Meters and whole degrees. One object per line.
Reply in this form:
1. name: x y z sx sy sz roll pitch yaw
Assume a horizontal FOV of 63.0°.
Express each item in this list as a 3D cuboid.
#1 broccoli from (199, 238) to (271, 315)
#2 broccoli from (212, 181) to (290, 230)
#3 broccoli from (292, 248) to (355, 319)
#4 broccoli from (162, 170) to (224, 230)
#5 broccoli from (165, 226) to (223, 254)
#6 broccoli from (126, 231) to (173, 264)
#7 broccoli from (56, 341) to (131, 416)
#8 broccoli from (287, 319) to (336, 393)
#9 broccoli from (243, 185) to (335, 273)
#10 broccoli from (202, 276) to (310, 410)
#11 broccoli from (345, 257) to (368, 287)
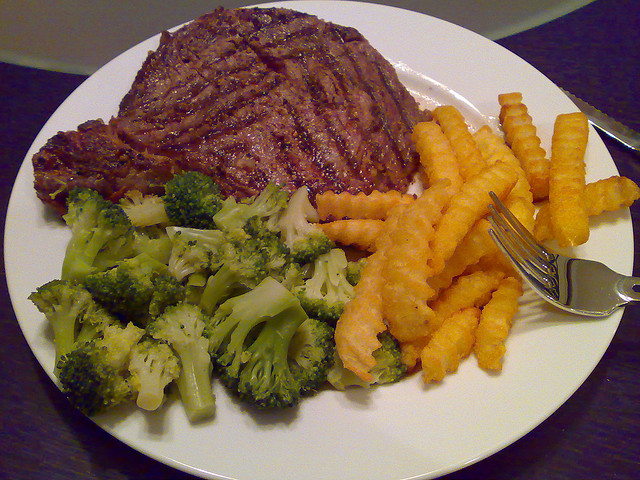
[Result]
1. broccoli: -0.533 0.204 3.278 0.512 0.244 0.320 -44 91 2
2. broccoli: -0.433 -0.223 3.346 0.448 0.151 0.254 -18 48 -31
3. broccoli: 0.047 0.282 3.325 0.340 0.171 0.412 11 81 -2
4. broccoli: -0.816 -0.237 3.443 0.340 0.253 0.364 32 70 -3
5. broccoli: -0.778 -0.071 3.282 0.375 0.158 0.304 -14 21 -27
6. broccoli: -1.049 0.042 3.364 0.235 0.182 0.323 -19 28 -41
7. broccoli: -1.235 0.723 2.864 0.337 0.181 0.388 -14 80 1
8. broccoli: -0.050 0.687 3.057 0.319 0.151 0.404 -3 74 18
9. broccoli: -0.185 -0.214 3.476 0.760 0.630 0.207 -9 87 20
10. broccoli: -0.359 0.613 3.123 0.658 0.218 0.708 -36 81 -8
11. broccoli: 0.217 0.194 3.346 0.139 0.077 0.159 29 86 48
